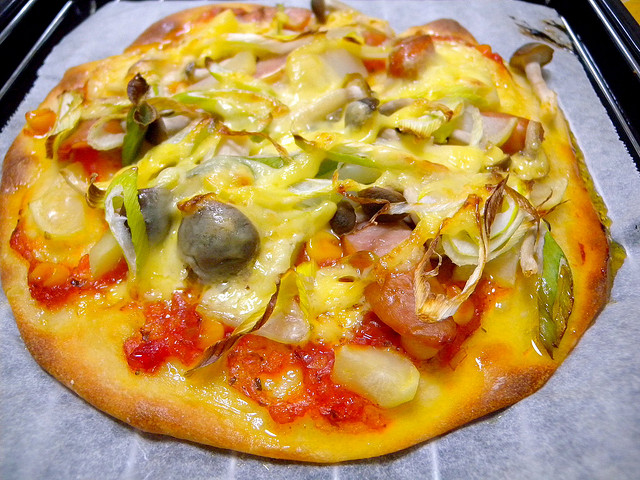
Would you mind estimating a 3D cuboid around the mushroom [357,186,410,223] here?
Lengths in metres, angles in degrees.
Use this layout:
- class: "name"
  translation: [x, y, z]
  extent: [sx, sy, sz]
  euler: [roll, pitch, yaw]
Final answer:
- class: "mushroom"
  translation: [0.233, -0.145, 2.392]
  extent: [0.249, 0.122, 0.130]
  euler: [1, 28, -4]

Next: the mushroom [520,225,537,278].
- class: "mushroom"
  translation: [0.784, 0.050, 2.380]
  extent: [0.072, 0.068, 0.265]
  euler: [4, 36, 16]

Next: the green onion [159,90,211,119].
- class: "green onion"
  translation: [-0.540, -0.561, 2.593]
  extent: [0.163, 0.049, 0.119]
  euler: [-13, 41, 18]

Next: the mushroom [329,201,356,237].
- class: "mushroom"
  translation: [0.097, -0.078, 2.387]
  extent: [0.091, 0.032, 0.123]
  euler: [9, 89, -18]

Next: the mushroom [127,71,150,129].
- class: "mushroom"
  translation: [-0.716, -0.548, 2.552]
  extent: [0.072, 0.066, 0.225]
  euler: [7, 95, -9]

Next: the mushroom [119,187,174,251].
- class: "mushroom"
  translation: [-0.619, -0.068, 2.426]
  extent: [0.233, 0.123, 0.180]
  euler: [47, 65, -6]

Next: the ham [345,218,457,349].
- class: "ham"
  translation: [0.290, 0.162, 2.329]
  extent: [0.260, 0.126, 0.507]
  euler: [-19, 58, -6]
